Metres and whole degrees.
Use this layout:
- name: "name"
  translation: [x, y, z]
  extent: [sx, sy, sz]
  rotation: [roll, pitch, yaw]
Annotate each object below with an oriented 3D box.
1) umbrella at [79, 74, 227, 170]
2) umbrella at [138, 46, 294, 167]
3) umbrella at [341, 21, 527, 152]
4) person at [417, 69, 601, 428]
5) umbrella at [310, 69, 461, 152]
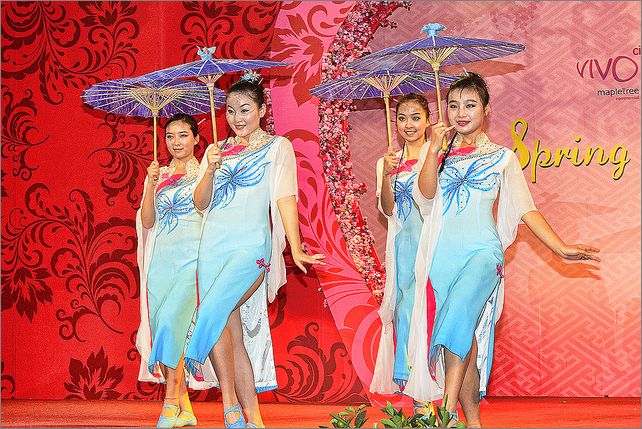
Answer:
- name: "umbrella"
  translation: [-1.391, -0.956, 5.667]
  extent: [1.014, 0.634, 0.824]
  rotation: [0, -27, -7]
- name: "umbrella"
  translation: [-0.795, -0.788, 5.118]
  extent: [0.922, 0.615, 0.826]
  rotation: [-4, -9, -36]
- name: "umbrella"
  translation: [0.827, -1.024, 5.031]
  extent: [0.946, 0.641, 0.952]
  rotation: [-18, -7, 41]
- name: "person"
  translation: [1.040, 0.236, 4.781]
  extent: [0.849, 2.364, 0.561]
  rotation: [6, -13, -14]
- name: "umbrella"
  translation: [0.536, -0.659, 5.500]
  extent: [0.815, 0.481, 0.926]
  rotation: [-21, -15, 39]
